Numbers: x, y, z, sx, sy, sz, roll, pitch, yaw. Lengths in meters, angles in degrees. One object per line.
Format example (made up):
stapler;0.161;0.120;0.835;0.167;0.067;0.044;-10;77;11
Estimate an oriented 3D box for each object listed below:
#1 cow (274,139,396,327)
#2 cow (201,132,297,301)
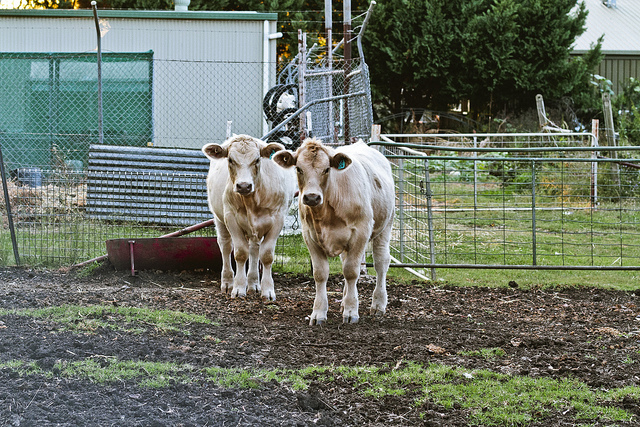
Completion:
cow;0.381;0.430;18.885;1.597;3.293;4.465;1;-3;18
cow;-1.457;0.160;20.416;1.469;2.608;3.518;0;-7;-5
